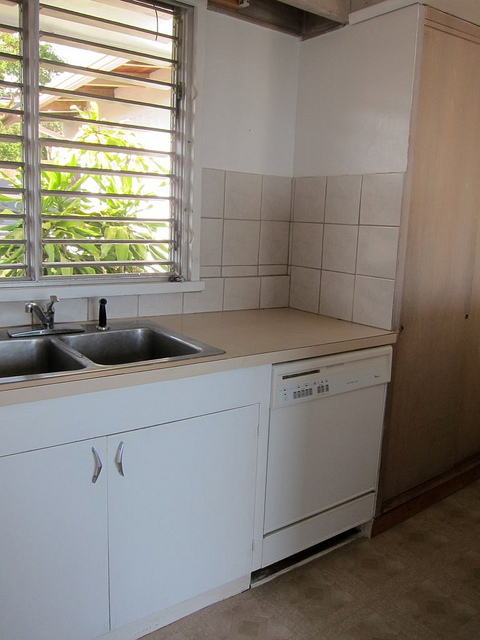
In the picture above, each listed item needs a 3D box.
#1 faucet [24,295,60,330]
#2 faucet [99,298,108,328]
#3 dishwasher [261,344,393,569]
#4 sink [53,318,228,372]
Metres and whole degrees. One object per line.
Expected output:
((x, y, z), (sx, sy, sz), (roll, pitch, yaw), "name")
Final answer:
((-0.645, -0.028, 1.657), (0.100, 0.109, 0.170), (0, 9, -19), "faucet")
((-0.484, -0.033, 1.792), (0.028, 0.099, 0.163), (0, 9, -16), "faucet")
((0.186, 0.412, 1.981), (0.573, 0.758, 0.565), (-3, 15, -19), "dishwasher")
((-0.306, 0.090, 1.652), (0.236, 0.105, 0.285), (-10, 19, -38), "sink")
